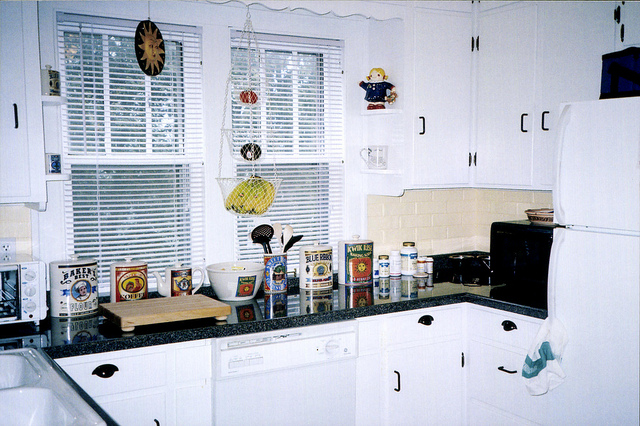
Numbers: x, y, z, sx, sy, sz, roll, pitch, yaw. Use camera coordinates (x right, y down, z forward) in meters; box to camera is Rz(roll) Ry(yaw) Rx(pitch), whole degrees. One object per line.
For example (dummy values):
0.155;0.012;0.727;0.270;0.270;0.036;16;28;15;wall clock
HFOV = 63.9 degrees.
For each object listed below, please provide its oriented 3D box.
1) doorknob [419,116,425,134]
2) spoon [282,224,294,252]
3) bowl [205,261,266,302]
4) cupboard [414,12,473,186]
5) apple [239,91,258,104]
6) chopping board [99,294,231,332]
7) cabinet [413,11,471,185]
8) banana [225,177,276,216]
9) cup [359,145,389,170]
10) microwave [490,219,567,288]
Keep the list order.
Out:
0.683;-0.589;3.423;0.046;0.116;0.017;-7;6;-33;doorknob
-0.211;0.156;3.241;0.050;0.157;0.124;0;6;35;spoon
-0.505;0.415;3.108;0.282;0.218;0.269;-3;5;0;bowl
0.766;-0.759;3.592;0.460;1.139;0.286;-6;12;-29;cupboard
-0.406;-0.658;2.913;0.089;0.073;0.062;-4;5;-3;apple
-0.862;0.543;2.818;0.628;0.096;0.482;0;0;-43;chopping board
0.745;-0.773;3.750;0.604;1.157;0.413;-1;3;-19;cabinet
-0.364;-0.096;2.791;0.182;0.148;0.239;22;35;35;banana
0.390;-0.384;3.585;0.130;0.140;0.201;0;-1;-42;cup
1.270;0.258;3.330;0.363;0.474;0.522;2;-1;-24;microwave
